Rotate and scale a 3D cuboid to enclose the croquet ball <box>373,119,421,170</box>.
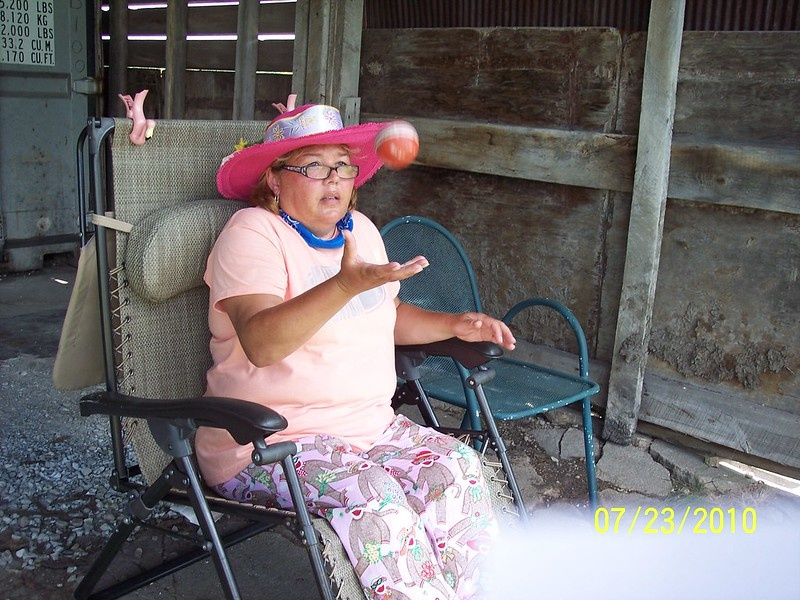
[{"bbox_3d":[0.003,-0.455,1.852,0.131,0.151,0.132,0,5,0],"label":"croquet ball"}]

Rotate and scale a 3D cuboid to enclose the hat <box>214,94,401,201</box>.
[{"bbox_3d":[-0.298,-0.550,1.994,0.539,0.155,0.602,4,19,41],"label":"hat"}]

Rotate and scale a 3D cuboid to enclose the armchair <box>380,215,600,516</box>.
[{"bbox_3d":[0.304,0.278,2.456,0.831,1.121,0.868,-6,15,-14],"label":"armchair"}]
